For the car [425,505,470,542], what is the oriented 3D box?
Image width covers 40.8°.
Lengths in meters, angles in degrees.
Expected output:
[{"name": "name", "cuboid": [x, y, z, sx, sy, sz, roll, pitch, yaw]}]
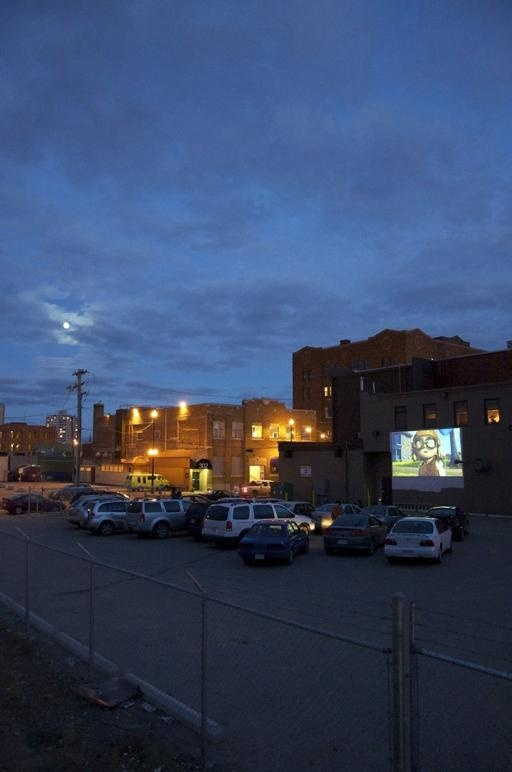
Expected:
[{"name": "car", "cuboid": [7.399, 5.182, 26.174, 1.285, 1.022, 2.801, -3, -17, 19]}]

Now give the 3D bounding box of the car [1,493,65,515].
[{"name": "car", "cuboid": [-13.248, 7.148, 40.717, 3.252, 1.085, 1.582, 0, 0, -36]}]

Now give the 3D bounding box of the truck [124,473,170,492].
[{"name": "truck", "cuboid": [-10.591, 9.888, 67.614, 3.750, 1.727, 2.300, -1, -2, -14]}]

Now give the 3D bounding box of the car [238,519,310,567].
[{"name": "car", "cuboid": [0.497, 4.210, 18.657, 1.266, 1.060, 2.413, -2, -5, 19]}]

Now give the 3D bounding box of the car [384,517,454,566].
[{"name": "car", "cuboid": [4.429, 4.193, 18.713, 1.260, 1.112, 2.256, -2, -5, 25]}]

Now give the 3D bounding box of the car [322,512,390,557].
[{"name": "car", "cuboid": [3.119, 4.510, 20.834, 1.209, 0.932, 2.858, -3, -10, 14]}]
